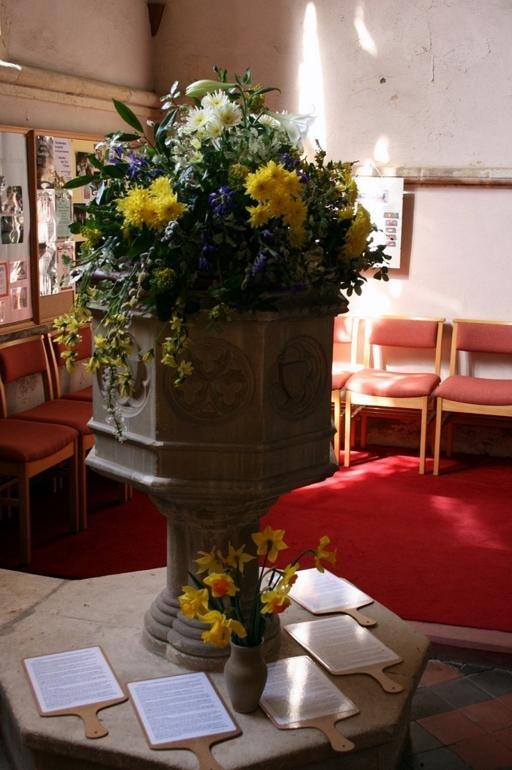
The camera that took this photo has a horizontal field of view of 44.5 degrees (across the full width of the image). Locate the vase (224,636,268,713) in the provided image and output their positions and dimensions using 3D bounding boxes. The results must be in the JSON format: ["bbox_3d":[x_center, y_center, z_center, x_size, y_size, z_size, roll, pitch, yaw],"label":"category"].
[{"bbox_3d":[-0.023,0.590,1.269,0.082,0.149,0.067,2,2,-3],"label":"vase"}]

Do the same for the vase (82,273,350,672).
[{"bbox_3d":[-0.177,0.139,1.792,0.760,1.053,0.768,-10,16,-44],"label":"vase"}]
